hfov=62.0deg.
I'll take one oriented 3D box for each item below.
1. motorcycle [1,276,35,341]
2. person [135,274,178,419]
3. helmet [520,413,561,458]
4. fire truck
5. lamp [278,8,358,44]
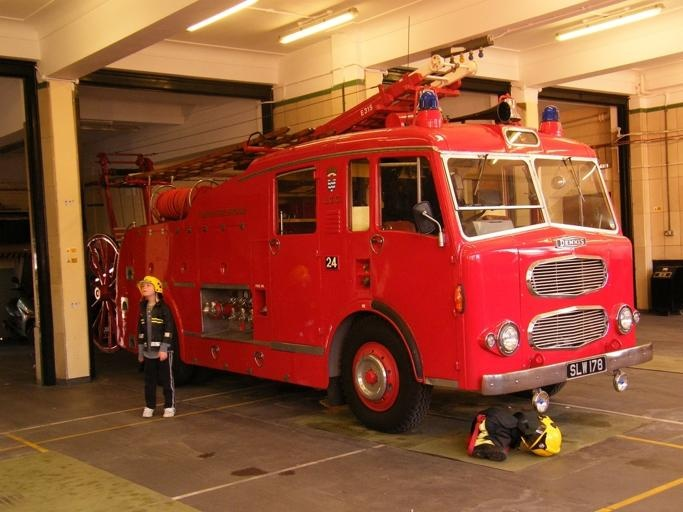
[{"bbox_3d":[-8.498,1.446,15.077,0.593,1.832,1.371,-4,1,-43],"label":"motorcycle"},{"bbox_3d":[-2.634,1.287,8.186,0.567,1.831,0.695,-1,-1,23],"label":"person"},{"bbox_3d":[2.071,1.879,5.901,0.376,0.370,0.299,-3,1,22],"label":"helmet"},{"bbox_3d":[-0.469,-0.212,9.711,3.571,4.024,9.859,-6,5,-41],"label":"fire truck"},{"bbox_3d":[-0.358,-4.459,11.101,0.654,0.278,2.154,-3,1,-45],"label":"lamp"}]
